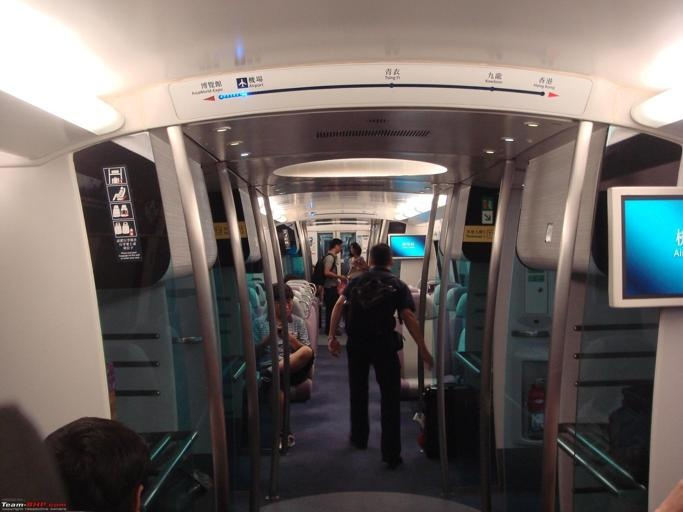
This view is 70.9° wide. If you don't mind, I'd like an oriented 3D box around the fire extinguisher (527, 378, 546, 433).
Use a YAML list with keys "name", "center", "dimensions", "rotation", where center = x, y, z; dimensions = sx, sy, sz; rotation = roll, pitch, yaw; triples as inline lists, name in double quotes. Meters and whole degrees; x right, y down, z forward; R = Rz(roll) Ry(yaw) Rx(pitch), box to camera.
- name: "fire extinguisher"
  center: [1.649, 1.284, 4.082]
  dimensions: [0.130, 0.466, 0.142]
  rotation: [1, 4, 22]

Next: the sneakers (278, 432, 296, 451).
- name: "sneakers"
  center: [-0.589, 2.028, 5.229]
  dimensions: [0.182, 0.253, 0.099]
  rotation: [1, 43, -7]

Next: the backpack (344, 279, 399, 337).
- name: "backpack"
  center: [0.313, 0.513, 4.853]
  dimensions: [0.537, 0.708, 0.369]
  rotation: [2, 4, 13]
